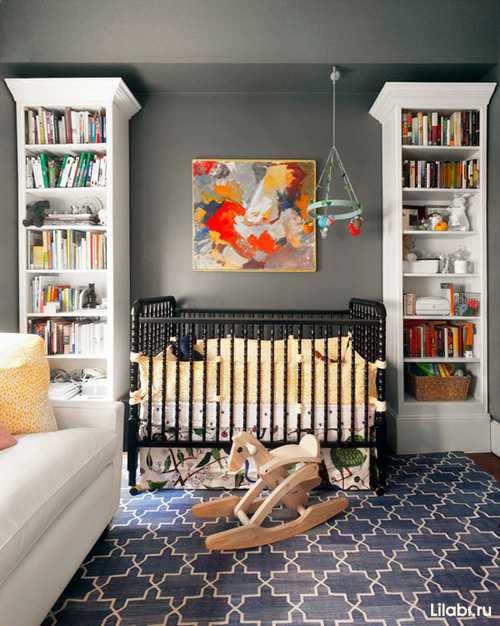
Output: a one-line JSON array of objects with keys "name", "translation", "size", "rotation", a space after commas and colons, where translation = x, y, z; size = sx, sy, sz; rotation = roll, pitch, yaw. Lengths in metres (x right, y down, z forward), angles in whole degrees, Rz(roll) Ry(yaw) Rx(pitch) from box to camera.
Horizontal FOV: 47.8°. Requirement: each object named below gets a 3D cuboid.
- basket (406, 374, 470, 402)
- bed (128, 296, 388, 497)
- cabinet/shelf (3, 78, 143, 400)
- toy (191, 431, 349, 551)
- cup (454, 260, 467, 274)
[{"name": "basket", "translation": [1.064, 0.424, 3.226], "size": [0.346, 0.165, 0.188], "rotation": [6, 16, 22]}, {"name": "bed", "translation": [0.326, 0.498, 2.978], "size": [0.988, 0.976, 1.466], "rotation": [17, -17, -38]}, {"name": "cabinet/shelf", "translation": [-0.982, -0.399, 3.232], "size": [0.725, 1.782, 0.690], "rotation": [-2, 15, -10]}, {"name": "toy", "translation": [0.096, 0.717, 2.444], "size": [0.694, 0.425, 0.352], "rotation": [-2, 0, -19]}, {"name": "cup", "translation": [1.214, -0.261, 3.231], "size": [0.090, 0.085, 0.081], "rotation": [-1, 2, -6]}]
